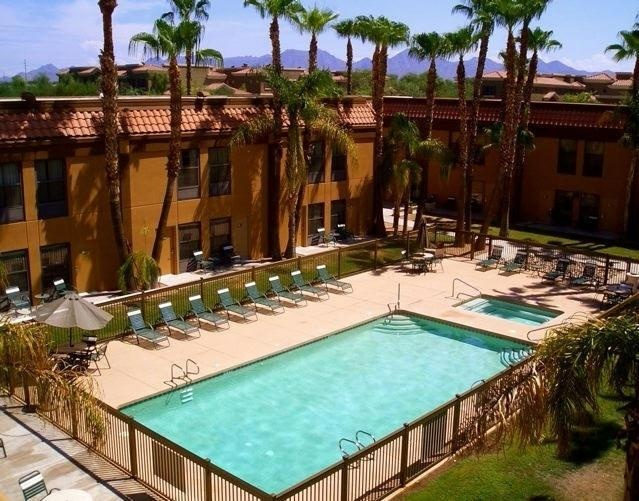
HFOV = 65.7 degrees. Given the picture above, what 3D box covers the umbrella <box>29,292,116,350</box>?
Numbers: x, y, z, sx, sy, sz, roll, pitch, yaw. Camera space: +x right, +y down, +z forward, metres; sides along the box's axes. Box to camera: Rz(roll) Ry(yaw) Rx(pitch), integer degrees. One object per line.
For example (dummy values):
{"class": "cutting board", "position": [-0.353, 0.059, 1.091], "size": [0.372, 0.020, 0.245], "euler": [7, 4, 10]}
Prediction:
{"class": "umbrella", "position": [-7.644, 2.222, 15.257], "size": [2.098, 2.027, 2.258], "euler": [18, 11, 40]}
